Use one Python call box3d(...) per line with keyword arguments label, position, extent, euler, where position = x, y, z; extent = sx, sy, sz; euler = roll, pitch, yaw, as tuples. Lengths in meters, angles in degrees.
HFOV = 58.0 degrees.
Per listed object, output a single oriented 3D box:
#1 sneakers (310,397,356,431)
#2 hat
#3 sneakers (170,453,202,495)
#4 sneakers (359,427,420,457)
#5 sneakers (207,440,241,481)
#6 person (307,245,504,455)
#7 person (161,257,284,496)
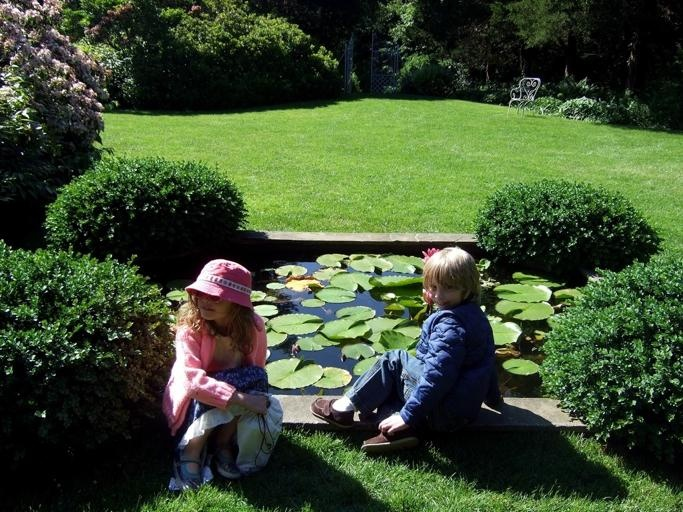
box3d(label="sneakers", position=(-0.069, 1.032, 4.069), extent=(0.276, 0.111, 0.145), euler=(23, 14, 12))
box3d(label="hat", position=(-0.793, 0.137, 4.021), extent=(0.375, 0.249, 0.450), euler=(10, -2, -11))
box3d(label="sneakers", position=(-0.926, 1.301, 3.680), extent=(0.195, 0.161, 0.178), euler=(2, 15, 1))
box3d(label="sneakers", position=(0.315, 1.202, 3.977), extent=(0.393, 0.150, 0.265), euler=(-3, 50, 3))
box3d(label="sneakers", position=(-0.736, 1.242, 3.831), extent=(0.139, 0.135, 0.374), euler=(2, 14, -31))
box3d(label="person", position=(0.535, 0.551, 4.172), extent=(1.333, 1.332, 1.185), euler=(5, 0, 2))
box3d(label="person", position=(-0.753, 0.702, 3.826), extent=(0.717, 1.247, 0.630), euler=(-3, 16, -17))
